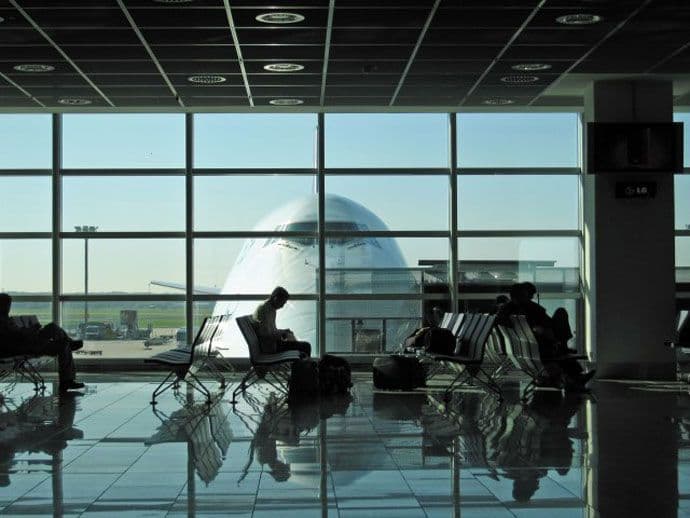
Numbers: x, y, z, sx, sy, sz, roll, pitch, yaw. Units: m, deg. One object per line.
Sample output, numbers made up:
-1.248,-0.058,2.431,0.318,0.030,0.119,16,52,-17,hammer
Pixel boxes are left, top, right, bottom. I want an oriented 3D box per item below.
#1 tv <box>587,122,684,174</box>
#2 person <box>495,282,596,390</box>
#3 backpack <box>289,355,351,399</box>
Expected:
4.548,-1.712,10.477,1.330,0.461,0.209,0,-2,1,tv
2.737,1.040,9.173,1.250,1.431,1.417,1,-3,6,person
-0.332,1.603,9.236,0.828,0.254,0.640,0,-3,6,backpack
